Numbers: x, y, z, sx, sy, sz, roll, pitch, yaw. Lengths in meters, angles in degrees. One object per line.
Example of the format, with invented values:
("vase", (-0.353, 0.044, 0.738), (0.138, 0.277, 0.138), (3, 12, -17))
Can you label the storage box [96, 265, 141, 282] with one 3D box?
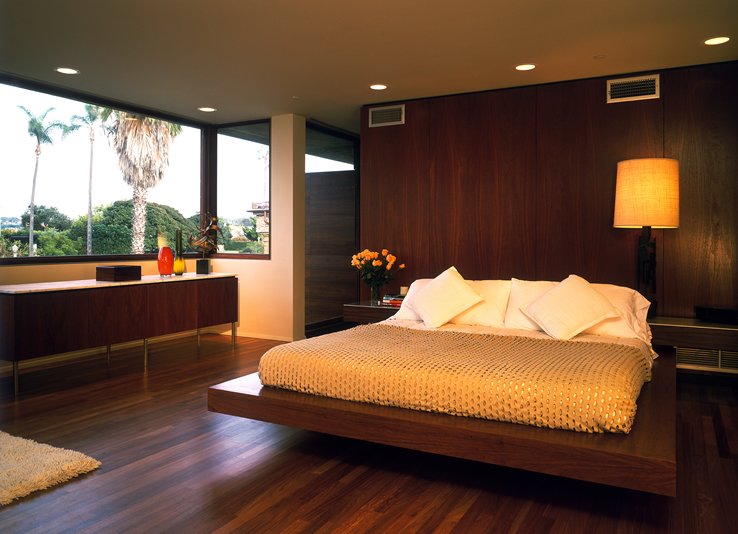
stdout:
("storage box", (-2.680, 0.071, 5.471), (0.254, 0.140, 0.257), (-1, 0, 34))

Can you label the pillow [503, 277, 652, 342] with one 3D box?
("pillow", (1.851, 0.386, 4.589), (1.044, 0.640, 0.296), (5, -29, 12))

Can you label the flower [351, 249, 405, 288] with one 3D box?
("flower", (0.091, 0.000, 6.010), (0.481, 0.366, 0.460), (0, -1, 39))
